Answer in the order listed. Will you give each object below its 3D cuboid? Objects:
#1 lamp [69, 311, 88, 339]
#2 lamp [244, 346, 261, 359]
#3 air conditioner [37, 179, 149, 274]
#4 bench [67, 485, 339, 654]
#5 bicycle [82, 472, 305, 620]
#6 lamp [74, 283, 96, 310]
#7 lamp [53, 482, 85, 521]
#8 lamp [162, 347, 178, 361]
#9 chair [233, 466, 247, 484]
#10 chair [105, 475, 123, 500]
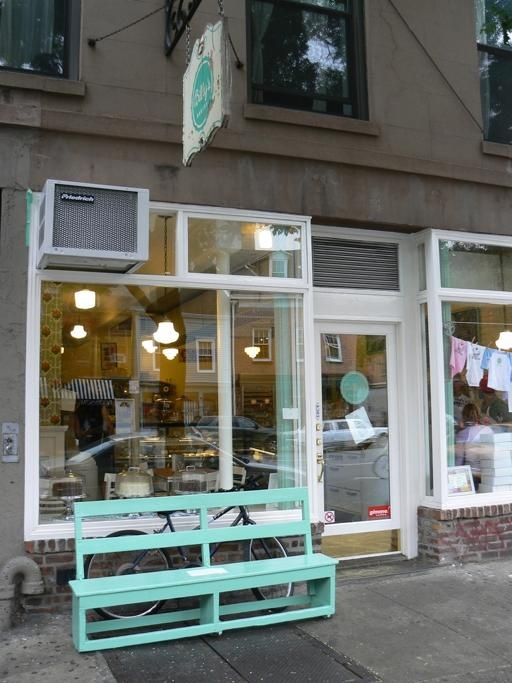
[{"bbox_3d":[-1.387,-0.098,5.571,0.137,0.274,0.126,-1,-1,7],"label":"lamp"},{"bbox_3d":[-0.031,0.092,6.292,0.110,0.091,0.111,2,-2,12],"label":"lamp"},{"bbox_3d":[-1.206,-0.846,5.308,0.725,0.551,0.404,3,-9,-19],"label":"air conditioner"},{"bbox_3d":[-0.406,1.516,4.919,1.838,0.926,0.967,2,-4,-28],"label":"bench"},{"bbox_3d":[-0.528,1.512,5.342,1.379,0.856,0.730,-3,-6,-13],"label":"bicycle"},{"bbox_3d":[-1.346,-0.340,5.621,0.156,0.174,0.156,-1,7,1],"label":"lamp"},{"bbox_3d":[-1.406,1.197,5.413,0.254,0.269,0.241,0,-7,14],"label":"lamp"},{"bbox_3d":[-0.715,0.098,5.936,0.104,0.077,0.104,0,-7,-16],"label":"lamp"},{"bbox_3d":[-0.144,1.128,6.154,0.111,0.186,0.136,3,-12,-11],"label":"chair"},{"bbox_3d":[-1.141,1.148,5.651,0.166,0.186,0.168,4,-9,-30],"label":"chair"}]
